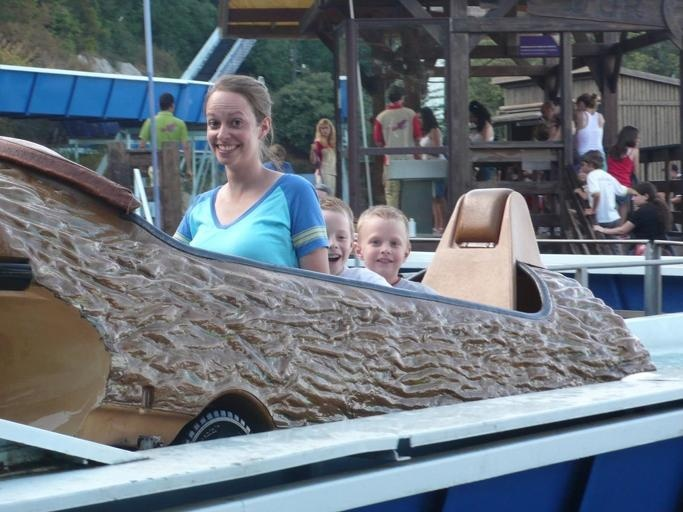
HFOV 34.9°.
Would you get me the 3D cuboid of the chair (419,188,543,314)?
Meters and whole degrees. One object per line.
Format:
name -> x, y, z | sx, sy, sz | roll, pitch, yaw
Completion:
chair -> 0.644, 0.014, 4.742 | 0.564, 0.588, 0.380 | 3, -3, 42
